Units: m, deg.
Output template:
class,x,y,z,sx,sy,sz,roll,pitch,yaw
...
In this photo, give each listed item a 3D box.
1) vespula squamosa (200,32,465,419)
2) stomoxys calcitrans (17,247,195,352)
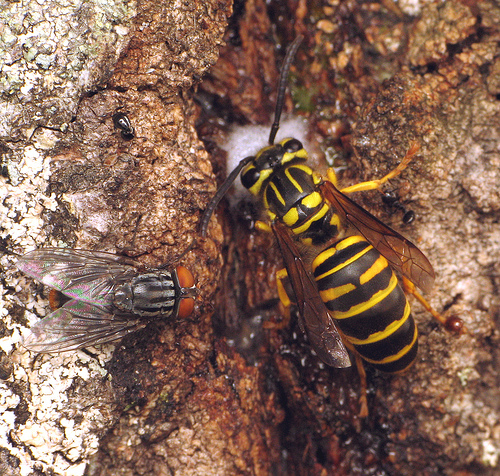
class,x,y,z,sx,sy,sz,roll,pitch,yaw
vespula squamosa,0.501,0.088,4.050,0.967,0.647,1.546,-40,81,3
stomoxys calcitrans,-0.756,0.349,3.941,1.059,0.361,0.580,-1,80,2
